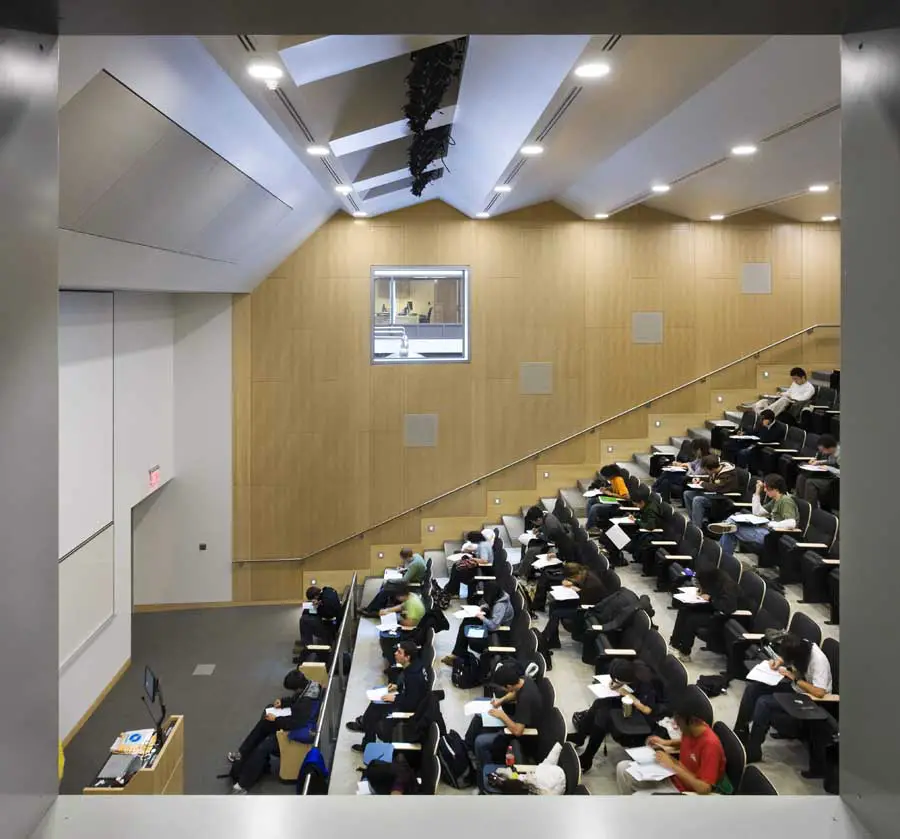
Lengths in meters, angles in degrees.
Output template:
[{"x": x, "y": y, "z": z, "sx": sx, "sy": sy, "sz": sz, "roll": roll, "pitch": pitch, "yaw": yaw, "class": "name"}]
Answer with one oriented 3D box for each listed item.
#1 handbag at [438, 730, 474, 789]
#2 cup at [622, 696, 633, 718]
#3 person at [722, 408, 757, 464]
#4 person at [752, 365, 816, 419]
[{"x": 0.058, "y": 2.833, "z": 5.644, "sx": 0.328, "sy": 0.424, "sz": 0.280, "roll": 0, "pitch": -6, "yaw": -9, "class": "handbag"}, {"x": 1.407, "y": 2.255, "z": 5.333, "sx": 0.104, "sy": 0.146, "sz": 0.085, "roll": 0, "pitch": -6, "yaw": -4, "class": "cup"}, {"x": 4.583, "y": 0.301, "z": 10.544, "sx": 0.458, "sy": 0.772, "sz": 0.564, "roll": -25, "pitch": 21, "yaw": -25, "class": "person"}, {"x": 5.445, "y": -0.424, "z": 11.048, "sx": 0.967, "sy": 0.624, "sz": 0.642, "roll": -16, "pitch": 6, "yaw": -14, "class": "person"}]
